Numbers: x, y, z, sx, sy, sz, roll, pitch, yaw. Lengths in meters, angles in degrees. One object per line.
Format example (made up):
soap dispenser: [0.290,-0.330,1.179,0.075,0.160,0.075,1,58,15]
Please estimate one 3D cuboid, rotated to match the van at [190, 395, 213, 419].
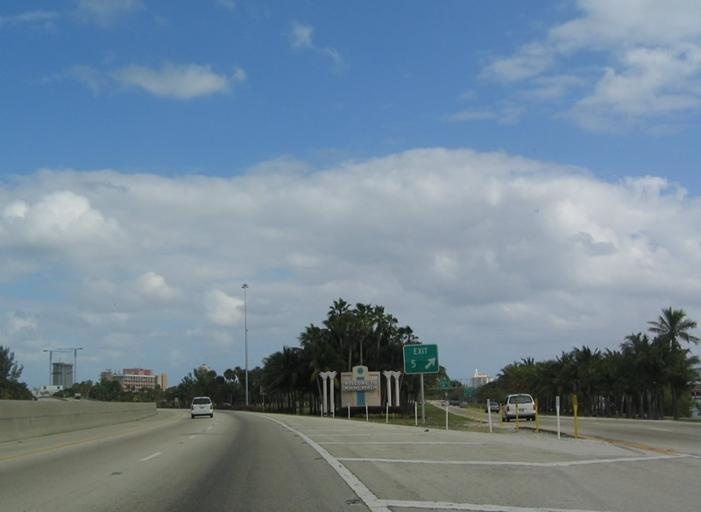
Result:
van: [-11.769,12.110,65.235,1.186,1.205,2.300,1,-5,-11]
